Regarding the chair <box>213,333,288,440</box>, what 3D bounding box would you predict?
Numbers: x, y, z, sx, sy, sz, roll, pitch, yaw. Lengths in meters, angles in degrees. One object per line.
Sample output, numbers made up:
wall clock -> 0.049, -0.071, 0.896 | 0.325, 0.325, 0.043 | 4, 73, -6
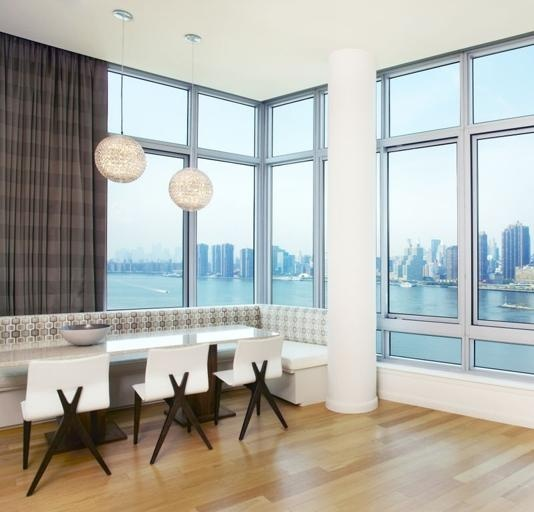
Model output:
chair -> -0.136, 0.974, 3.570 | 0.480, 0.735, 0.448 | 2, 4, 43

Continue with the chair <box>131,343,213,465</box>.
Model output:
chair -> -0.674, 0.987, 3.244 | 0.556, 0.757, 0.650 | 0, 0, -18

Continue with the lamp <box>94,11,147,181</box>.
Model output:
lamp -> -1.306, -1.251, 3.955 | 0.354, 1.406, 1.586 | 0, 0, -20

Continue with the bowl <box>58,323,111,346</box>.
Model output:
bowl -> -1.380, 0.600, 3.424 | 0.338, 0.135, 0.432 | 0, 0, -26

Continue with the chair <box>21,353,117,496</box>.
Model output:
chair -> -1.288, 0.973, 2.879 | 0.486, 0.858, 0.545 | -1, 9, -25

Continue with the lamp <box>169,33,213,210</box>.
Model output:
lamp -> -0.691, -1.162, 4.034 | 0.339, 1.584, 1.117 | 0, 0, -11
